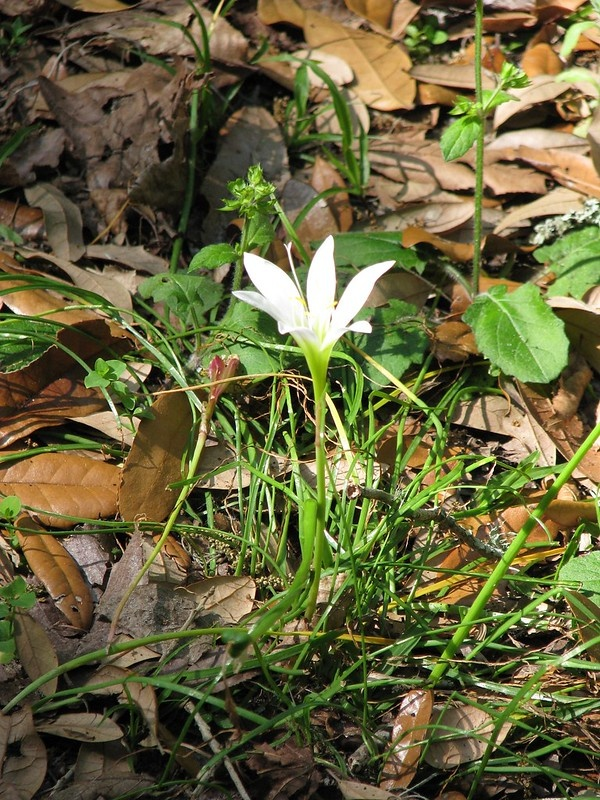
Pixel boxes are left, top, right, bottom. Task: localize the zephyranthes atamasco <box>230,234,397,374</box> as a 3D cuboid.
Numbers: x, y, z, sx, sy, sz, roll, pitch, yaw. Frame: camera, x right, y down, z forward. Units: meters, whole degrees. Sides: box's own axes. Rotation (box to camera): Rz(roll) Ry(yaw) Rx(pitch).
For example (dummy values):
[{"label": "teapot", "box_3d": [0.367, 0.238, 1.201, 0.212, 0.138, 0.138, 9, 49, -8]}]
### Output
[{"label": "zephyranthes atamasco", "box_3d": [0.045, -0.138, 1.536, 0.282, 0.124, 0.236, -13, 21, -20]}]
